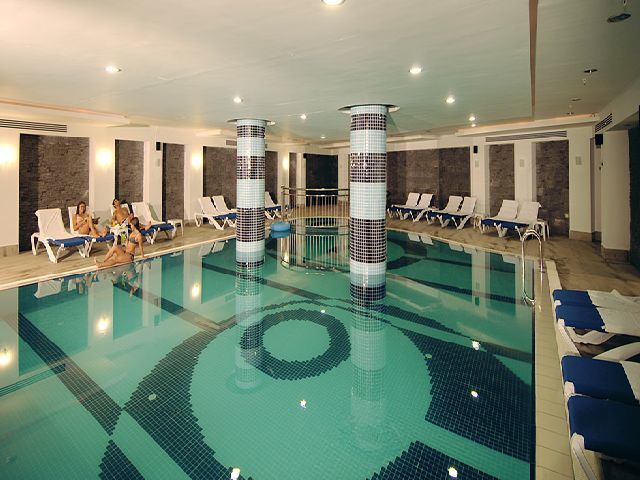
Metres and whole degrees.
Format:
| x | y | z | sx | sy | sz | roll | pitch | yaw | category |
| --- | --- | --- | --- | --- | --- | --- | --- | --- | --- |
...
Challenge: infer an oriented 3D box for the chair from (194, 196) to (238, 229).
| x | y | z | sx | sy | sz | roll | pitch | yaw | category |
| --- | --- | --- | --- | --- | --- | --- | --- | --- | --- |
| -3.173 | -0.808 | 12.348 | 1.179 | 0.798 | 1.384 | 7 | 12 | 26 | chair |

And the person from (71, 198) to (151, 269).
| x | y | z | sx | sy | sz | roll | pitch | yaw | category |
| --- | --- | --- | --- | --- | --- | --- | --- | --- | --- |
| -4.325 | -0.095 | 8.713 | 1.559 | 0.939 | 1.586 | 7 | 11 | 39 | person |

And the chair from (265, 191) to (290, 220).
| x | y | z | sx | sy | sz | roll | pitch | yaw | category |
| --- | --- | --- | --- | --- | --- | --- | --- | --- | --- |
| -1.615 | -1.158 | 14.288 | 0.703 | 0.671 | 1.245 | -10 | 18 | -36 | chair |

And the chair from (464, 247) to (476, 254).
| x | y | z | sx | sy | sz | roll | pitch | yaw | category |
| --- | --- | --- | --- | --- | --- | --- | --- | --- | --- |
| 3.389 | 0.236 | 9.288 | 0.167 | 0.107 | 0.172 | 1 | 8 | 30 | chair |

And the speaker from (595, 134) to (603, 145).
| x | y | z | sx | sy | sz | roll | pitch | yaw | category |
| --- | --- | --- | --- | --- | --- | --- | --- | --- | --- |
| 5.724 | -2.060 | 8.408 | 0.130 | 0.206 | 0.322 | 6 | 14 | 30 | speaker |

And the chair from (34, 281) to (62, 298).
| x | y | z | sx | sy | sz | roll | pitch | yaw | category |
| --- | --- | --- | --- | --- | --- | --- | --- | --- | --- |
| -4.431 | 0.788 | 6.671 | 0.336 | 0.133 | 0.265 | 6 | 10 | 28 | chair |

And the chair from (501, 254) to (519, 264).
| x | y | z | sx | sy | sz | roll | pitch | yaw | category |
| --- | --- | --- | --- | --- | --- | --- | --- | --- | --- |
| 3.952 | 0.388 | 8.505 | 0.204 | 0.133 | 0.217 | 0 | 4 | 11 | chair |

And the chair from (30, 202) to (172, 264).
| x | y | z | sx | sy | sz | roll | pitch | yaw | category |
| --- | --- | --- | --- | --- | --- | --- | --- | --- | --- |
| -4.769 | -0.259 | 8.779 | 2.400 | 1.069 | 2.219 | -10 | 15 | -36 | chair |

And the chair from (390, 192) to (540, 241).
| x | y | z | sx | sy | sz | roll | pitch | yaw | category |
| --- | --- | --- | --- | --- | --- | --- | --- | --- | --- |
| 4.951 | -0.665 | 11.399 | 1.756 | 0.861 | 3.244 | -6 | 13 | -22 | chair |

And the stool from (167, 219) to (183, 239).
| x | y | z | sx | sy | sz | roll | pitch | yaw | category |
| --- | --- | --- | --- | --- | --- | --- | --- | --- | --- |
| -3.808 | -0.285 | 10.726 | 0.452 | 0.470 | 0.453 | -6 | 11 | -33 | stool |
